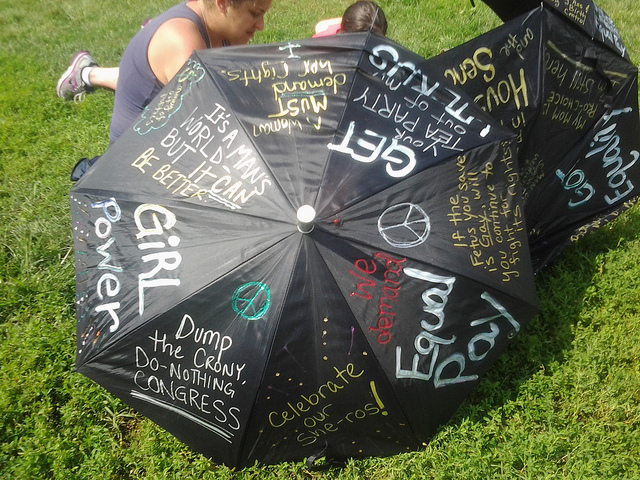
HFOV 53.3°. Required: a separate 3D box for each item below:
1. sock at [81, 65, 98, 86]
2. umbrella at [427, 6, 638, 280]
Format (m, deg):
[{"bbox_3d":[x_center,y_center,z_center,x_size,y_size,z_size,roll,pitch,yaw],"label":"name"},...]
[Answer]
[{"bbox_3d":[-2.249,-1.585,6.148,0.112,0.137,0.165,-3,103,-21],"label":"sock"},{"bbox_3d":[1.572,-0.904,5.779,1.957,1.428,2.020,-14,109,-21],"label":"umbrella"}]
